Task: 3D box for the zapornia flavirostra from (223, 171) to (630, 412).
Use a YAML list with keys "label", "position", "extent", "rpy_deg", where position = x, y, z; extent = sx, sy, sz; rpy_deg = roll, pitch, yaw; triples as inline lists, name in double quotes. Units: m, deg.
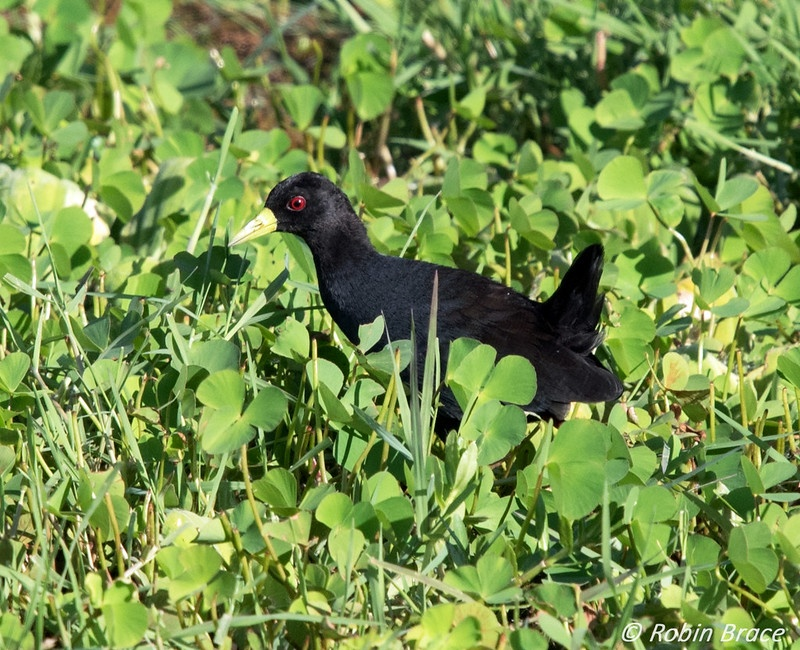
- label: "zapornia flavirostra"
  position: [0.101, -0.009, 3.132]
  extent: [1.297, 0.989, 0.550]
  rpy_deg: [1, 6, -5]
